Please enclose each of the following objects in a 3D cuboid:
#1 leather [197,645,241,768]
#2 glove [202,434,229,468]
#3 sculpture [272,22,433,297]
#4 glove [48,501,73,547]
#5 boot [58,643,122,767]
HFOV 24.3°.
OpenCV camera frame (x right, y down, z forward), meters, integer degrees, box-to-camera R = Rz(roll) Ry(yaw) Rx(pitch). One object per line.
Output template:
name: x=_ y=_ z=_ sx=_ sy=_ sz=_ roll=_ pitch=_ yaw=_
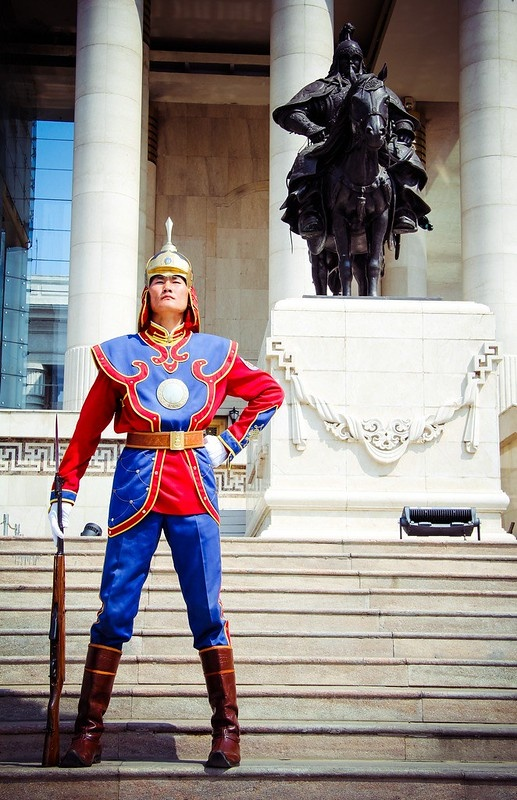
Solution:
leather: x=-0.173 y=1.378 z=5.395 sx=0.192 sy=0.487 sz=0.355 roll=2 pitch=-1 yaw=-2
glove: x=-0.219 y=0.264 z=5.874 sx=0.119 sy=0.143 sz=0.057 roll=-10 pitch=-2 yaw=-18
sculpture: x=0.915 y=-2.257 z=11.373 sx=1.314 sy=2.902 sz=2.168 roll=0 pitch=-13 yaw=-6
glove: x=-0.924 y=0.584 z=5.665 sx=0.080 sy=0.202 sz=0.119 roll=23 pitch=-31 yaw=-38
boot: x=-0.747 y=1.374 z=5.350 sx=0.141 sy=0.508 sz=0.339 roll=1 pitch=-1 yaw=15
